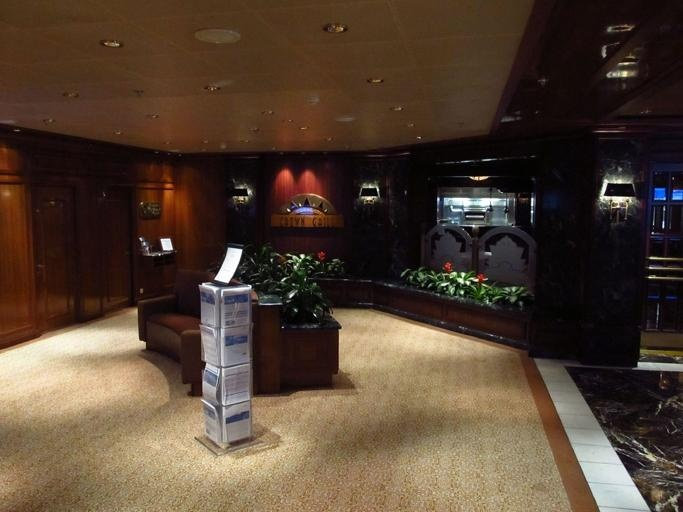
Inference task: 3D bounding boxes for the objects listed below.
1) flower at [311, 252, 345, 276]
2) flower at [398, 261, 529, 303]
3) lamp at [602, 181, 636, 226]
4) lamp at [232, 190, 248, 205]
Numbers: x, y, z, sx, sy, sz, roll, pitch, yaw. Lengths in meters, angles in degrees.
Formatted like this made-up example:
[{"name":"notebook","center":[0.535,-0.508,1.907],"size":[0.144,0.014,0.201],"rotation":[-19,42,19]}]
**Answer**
[{"name":"flower","center":[-0.314,0.240,10.949],"size":[0.589,0.443,0.600],"rotation":[19,23,29]},{"name":"flower","center":[2.347,0.608,9.033],"size":[1.727,0.498,0.859],"rotation":[8,21,39]},{"name":"lamp","center":[4.049,-0.770,6.873],"size":[0.446,0.600,0.215],"rotation":[4,11,19]},{"name":"lamp","center":[-2.390,-1.400,11.147],"size":[0.446,0.443,0.331],"rotation":[1,-4,-10]}]
